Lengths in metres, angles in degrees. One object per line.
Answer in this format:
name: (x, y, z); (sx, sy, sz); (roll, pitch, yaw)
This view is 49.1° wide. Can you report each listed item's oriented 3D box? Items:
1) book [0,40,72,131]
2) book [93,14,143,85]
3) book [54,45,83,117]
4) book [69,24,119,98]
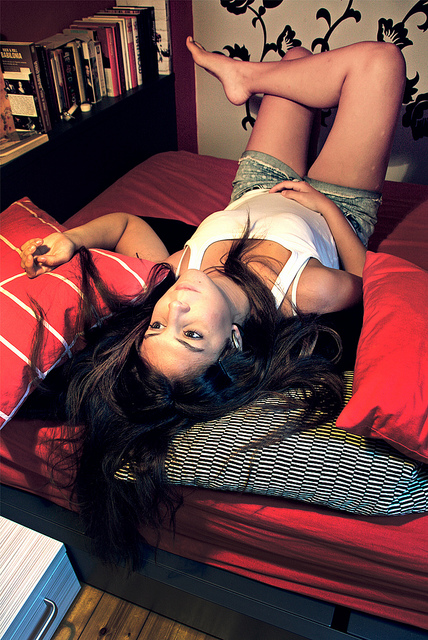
book: (-0.639, -0.777, 1.655); (0.077, 0.320, 0.321); (12, 21, 32)
book: (-0.404, -1.183, 2.087); (0.055, 0.240, 0.234); (-11, 25, 12)
book: (-0.546, -0.907, 1.768); (0.050, 0.198, 0.218); (-2, 9, 8)
book: (-0.464, -1.057, 1.958); (0.064, 0.271, 0.261); (-8, 14, -20)
